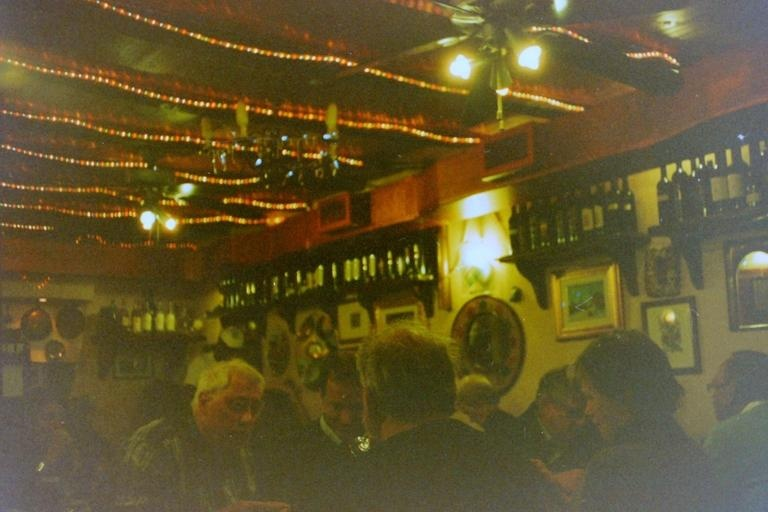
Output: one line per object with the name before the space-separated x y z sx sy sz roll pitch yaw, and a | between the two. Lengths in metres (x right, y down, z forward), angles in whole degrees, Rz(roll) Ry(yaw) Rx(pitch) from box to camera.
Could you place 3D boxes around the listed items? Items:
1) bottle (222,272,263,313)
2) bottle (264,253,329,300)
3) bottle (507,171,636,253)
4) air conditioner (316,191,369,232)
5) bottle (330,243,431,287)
bottle | -0.703 0.195 4.220 0.143 0.130 0.176 0 -1 6
bottle | -0.437 0.118 4.256 0.324 0.179 0.032 -6 -7 10
bottle | 0.823 -0.179 3.865 0.562 0.271 0.047 -8 -8 23
air conditioner | -0.204 -0.216 4.179 0.293 0.221 0.167 -3 -2 25
bottle | -0.022 0.055 4.173 0.518 0.187 0.028 -7 -8 17
